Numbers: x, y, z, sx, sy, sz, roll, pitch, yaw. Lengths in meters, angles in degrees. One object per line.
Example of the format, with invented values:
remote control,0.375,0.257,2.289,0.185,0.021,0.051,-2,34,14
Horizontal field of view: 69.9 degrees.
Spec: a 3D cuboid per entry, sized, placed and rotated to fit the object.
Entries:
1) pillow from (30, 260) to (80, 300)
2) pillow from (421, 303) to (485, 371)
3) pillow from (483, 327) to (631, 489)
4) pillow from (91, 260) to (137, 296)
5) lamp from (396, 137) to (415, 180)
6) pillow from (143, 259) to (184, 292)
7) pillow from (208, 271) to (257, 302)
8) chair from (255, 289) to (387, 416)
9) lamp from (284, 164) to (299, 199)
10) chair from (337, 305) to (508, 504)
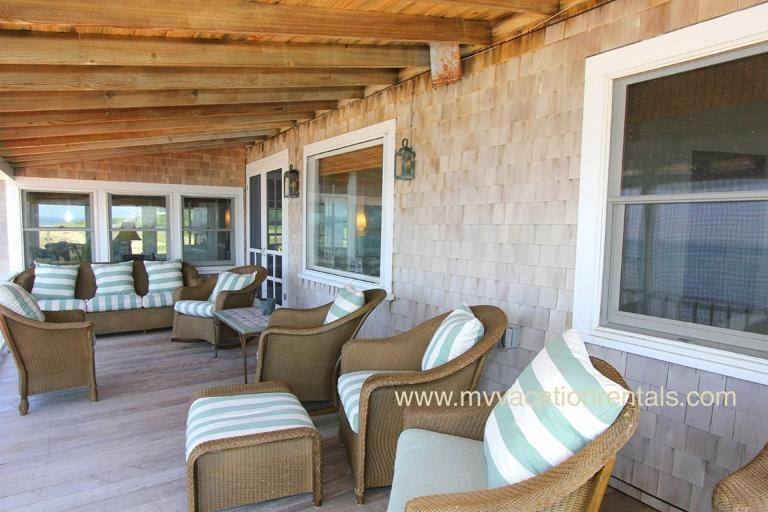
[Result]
pillow,-4.169,0.307,7.008,0.498,0.438,0.502,-3,7,-17
pillow,0.506,0.595,3.943,0.316,0.437,0.530,23,-28,-16
pillow,0.871,0.848,2.917,0.627,0.749,0.505,-1,7,-5
pillow,-3.555,0.309,7.252,0.557,0.401,0.169,-7,-25,-20
lamp,0.197,-0.929,5.234,0.165,0.415,0.208,-5,9,-27
pillow,-3.003,0.282,7.509,0.560,0.425,0.171,-4,-31,-26
pillow,-1.822,0.387,6.854,0.531,0.408,0.138,-6,-42,32
chair,-0.580,0.880,5.112,1.454,0.927,1.083,2,1,-14
lamp,-1.161,-0.925,7.000,0.171,0.350,0.328,-3,7,-18
chair,0.139,0.959,4.178,1.732,1.077,1.307,-2,4,-15
